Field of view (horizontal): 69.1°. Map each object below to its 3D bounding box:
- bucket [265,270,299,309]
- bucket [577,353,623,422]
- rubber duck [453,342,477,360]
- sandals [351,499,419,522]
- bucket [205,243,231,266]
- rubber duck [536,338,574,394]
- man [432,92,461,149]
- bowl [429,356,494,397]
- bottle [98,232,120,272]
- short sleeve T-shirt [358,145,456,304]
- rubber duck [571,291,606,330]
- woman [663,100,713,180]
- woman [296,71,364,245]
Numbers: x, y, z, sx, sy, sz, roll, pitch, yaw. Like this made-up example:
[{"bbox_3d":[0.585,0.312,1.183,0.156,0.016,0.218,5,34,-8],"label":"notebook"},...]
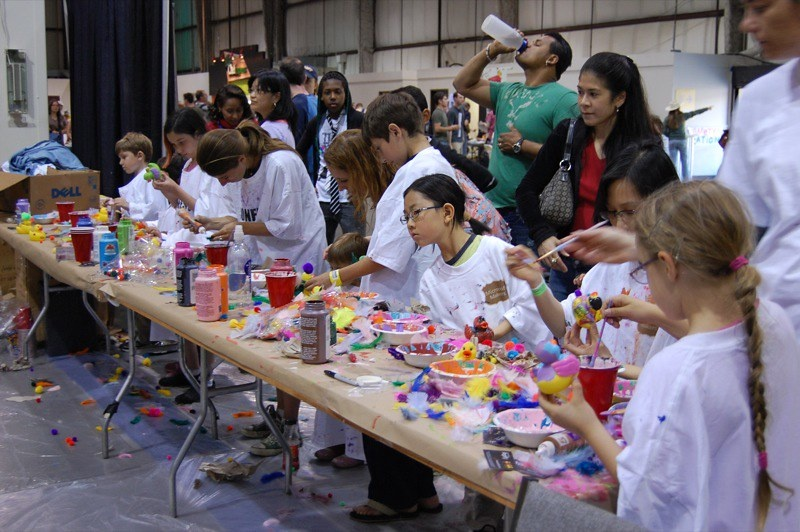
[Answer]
[{"bbox_3d":[-0.579,0.106,2.834,0.162,0.170,0.164,-1,-5,0],"label":"bucket"},{"bbox_3d":[0.623,0.367,1.778,0.130,0.147,0.127,-8,4,1],"label":"bucket"},{"bbox_3d":[0.250,0.315,2.208,0.053,0.078,0.055,17,52,9],"label":"rubber duck"},{"bbox_3d":[-0.086,1.195,2.906,0.315,0.088,0.127,2,2,-3],"label":"sandals"},{"bbox_3d":[-1.037,-0.073,3.295,0.139,0.105,0.141,0,2,0],"label":"bucket"},{"bbox_3d":[0.434,0.294,1.671,0.105,0.146,0.144,-19,-15,41],"label":"rubber duck"},{"bbox_3d":[0.887,-2.661,11.279,0.466,1.436,0.467,-4,37,2],"label":"man"},{"bbox_3d":[0.224,0.389,2.092,0.235,0.063,0.218,-1,14,0],"label":"bowl"},{"bbox_3d":[-1.853,-0.090,3.684,0.118,0.233,0.271,-8,16,-25],"label":"bottle"},{"bbox_3d":[0.046,-0.214,3.107,0.332,0.900,0.701,8,15,-4],"label":"short sleeve T-shirt"},{"bbox_3d":[0.653,0.143,2.046,0.122,0.054,0.088,37,36,29],"label":"rubber duck"},{"bbox_3d":[3.942,-1.729,8.038,0.288,1.136,0.793,-30,29,-28],"label":"woman"},{"bbox_3d":[-0.638,-0.763,5.444,0.777,2.025,0.590,-2,21,-5],"label":"woman"}]
